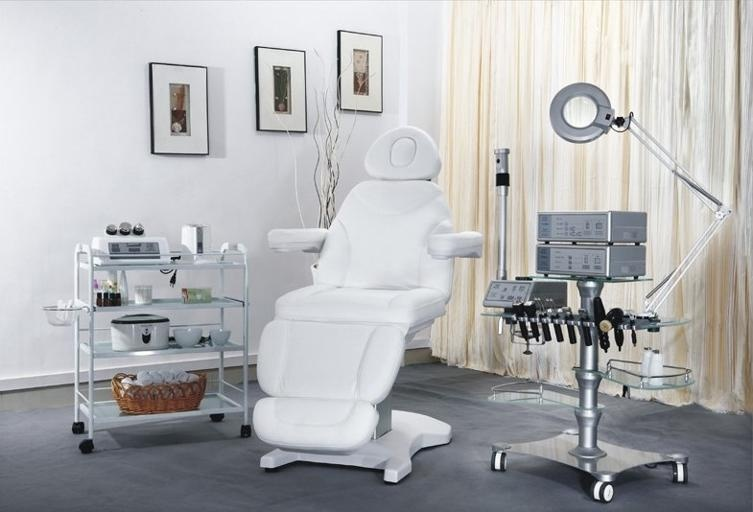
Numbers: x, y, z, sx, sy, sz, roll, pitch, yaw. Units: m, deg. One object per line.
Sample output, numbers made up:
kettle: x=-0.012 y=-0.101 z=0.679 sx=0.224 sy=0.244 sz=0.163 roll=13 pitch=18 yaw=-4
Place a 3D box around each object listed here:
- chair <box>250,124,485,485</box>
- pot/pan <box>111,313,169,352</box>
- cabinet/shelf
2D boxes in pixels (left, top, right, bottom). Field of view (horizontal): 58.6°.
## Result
chair: x=-0.067 y=0.184 z=3.524 sx=1.183 sy=1.586 sz=1.247 roll=2 pitch=12 yaw=22
pot/pan: x=-1.321 y=0.426 z=3.739 sx=0.247 sy=0.142 sz=0.229 roll=0 pitch=-2 yaw=-38
cabinet/shelf: x=-1.318 y=0.547 z=3.976 sx=1.214 sy=1.236 sz=0.471 roll=0 pitch=0 yaw=-29
